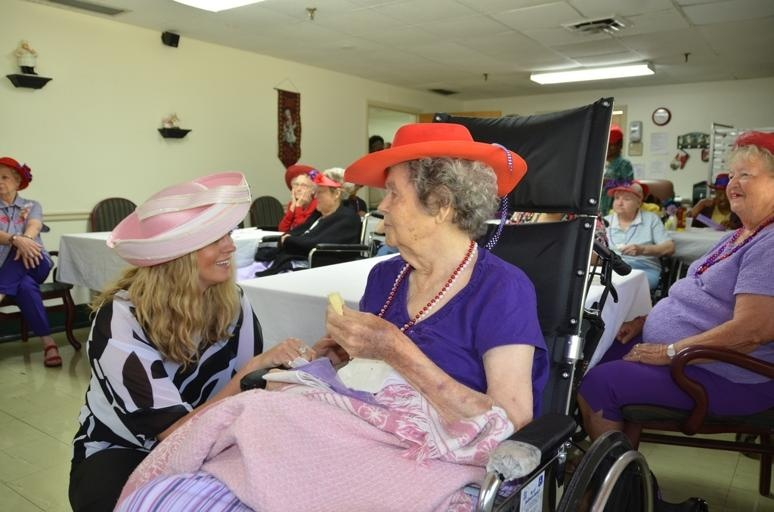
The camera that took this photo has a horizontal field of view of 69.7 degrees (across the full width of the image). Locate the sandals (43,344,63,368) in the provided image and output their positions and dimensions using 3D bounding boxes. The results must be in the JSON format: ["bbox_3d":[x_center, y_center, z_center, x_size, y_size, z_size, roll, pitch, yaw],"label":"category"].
[{"bbox_3d":[-2.684,0.797,4.453,0.120,0.149,0.258,-4,10,-32],"label":"sandals"}]

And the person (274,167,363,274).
[{"bbox_3d":[-0.523,-0.310,5.065,0.873,1.135,0.787,3,-1,-23],"label":"person"}]

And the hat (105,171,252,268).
[{"bbox_3d":[-0.878,-0.177,2.280,0.612,0.205,0.564,-10,0,-12],"label":"hat"}]

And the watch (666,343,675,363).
[{"bbox_3d":[1.268,0.429,2.482,0.036,0.059,0.060,-2,46,23],"label":"watch"}]

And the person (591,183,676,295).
[{"bbox_3d":[2.013,-0.099,4.707,0.682,1.030,1.003,-2,-3,32],"label":"person"}]

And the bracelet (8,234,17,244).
[{"bbox_3d":[-3.025,-0.135,4.484,0.033,0.064,0.046,15,-6,-10],"label":"bracelet"}]

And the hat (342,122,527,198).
[{"bbox_3d":[0.213,-0.405,2.319,0.771,0.190,0.692,-1,-6,17],"label":"hat"}]

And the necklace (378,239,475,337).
[{"bbox_3d":[0.161,0.115,2.079,0.031,0.406,0.280,34,-6,-40],"label":"necklace"}]
